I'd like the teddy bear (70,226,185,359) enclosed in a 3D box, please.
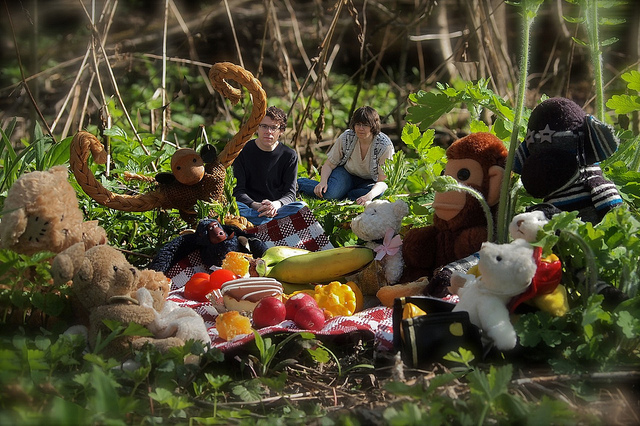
[{"bbox_3d":[-0.855,0.353,2.787,0.441,0.566,0.358,-4,13,16],"label":"teddy bear"}]

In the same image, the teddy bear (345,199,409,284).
[{"bbox_3d":[0.278,0.122,3.203,0.252,0.460,0.319,2,2,2],"label":"teddy bear"}]

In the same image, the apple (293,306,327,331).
[{"bbox_3d":[-0.043,0.469,2.786,0.116,0.092,0.091,9,55,-6],"label":"apple"}]

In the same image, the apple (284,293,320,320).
[{"bbox_3d":[-0.084,0.416,2.868,0.127,0.125,0.122,11,-8,-4],"label":"apple"}]

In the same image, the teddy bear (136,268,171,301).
[{"bbox_3d":[-0.751,0.316,2.860,0.147,0.076,0.110,22,-15,36],"label":"teddy bear"}]

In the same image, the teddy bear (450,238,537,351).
[{"bbox_3d":[0.747,0.397,2.752,0.251,0.623,0.506,6,34,4],"label":"teddy bear"}]

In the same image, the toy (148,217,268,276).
[{"bbox_3d":[-0.609,0.188,3.352,0.698,0.303,0.248,-10,5,-4],"label":"toy"}]

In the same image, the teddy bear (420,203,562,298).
[{"bbox_3d":[0.851,0.110,3.091,0.779,0.579,0.413,4,2,22],"label":"teddy bear"}]
